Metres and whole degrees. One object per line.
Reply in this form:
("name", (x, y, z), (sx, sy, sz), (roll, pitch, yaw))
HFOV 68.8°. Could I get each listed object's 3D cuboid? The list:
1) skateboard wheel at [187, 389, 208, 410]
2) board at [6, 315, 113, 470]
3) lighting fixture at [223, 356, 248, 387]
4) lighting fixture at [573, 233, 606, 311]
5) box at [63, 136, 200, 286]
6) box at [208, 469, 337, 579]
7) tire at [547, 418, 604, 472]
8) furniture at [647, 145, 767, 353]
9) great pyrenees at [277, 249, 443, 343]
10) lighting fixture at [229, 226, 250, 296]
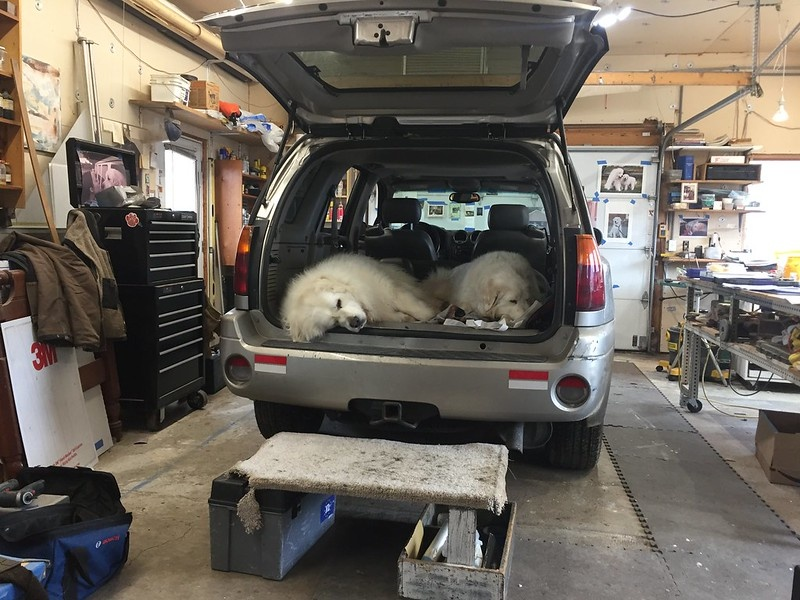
("skateboard wheel", (-1.613, 0.800, 4.666), (0.137, 0.138, 0.049), (27, 16, 2))
("board", (-2.084, 0.567, 3.554), (0.053, 1.025, 0.920), (-14, -7, 7))
("lighting fixture", (-0.882, 0.383, 3.183), (0.168, 0.175, 0.034), (8, 14, 26))
("lighting fixture", (1.004, -0.141, 3.025), (0.204, 0.383, 0.170), (0, 13, -4))
("box", (-2.048, -0.671, 4.458), (0.954, 1.060, 0.810), (12, 17, 38))
("box", (-0.588, 1.064, 3.110), (0.466, 0.481, 0.755), (-1, 7, 21))
("tire", (1.057, 0.891, 3.677), (0.369, 0.384, 0.381), (1, 2, 11))
("furniture", (3.866, -0.659, 7.602), (1.263, 2.622, 0.714), (2, 13, 3))
("great pyrenees", (-0.246, -0.016, 3.416), (0.534, 0.307, 0.733), (-12, 6, 15))
("lighting fixture", (-0.886, -0.206, 3.346), (0.104, 0.445, 0.113), (3, 17, -8))
